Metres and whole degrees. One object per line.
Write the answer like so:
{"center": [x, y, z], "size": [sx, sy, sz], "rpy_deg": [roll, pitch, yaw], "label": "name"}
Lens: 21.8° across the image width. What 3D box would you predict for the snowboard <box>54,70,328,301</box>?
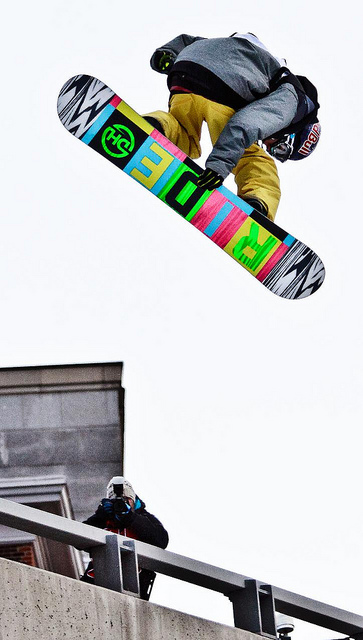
{"center": [0.118, -1.065, 6.305], "size": [2.763, 0.596, 0.232], "rpy_deg": [36, 4, -5], "label": "snowboard"}
